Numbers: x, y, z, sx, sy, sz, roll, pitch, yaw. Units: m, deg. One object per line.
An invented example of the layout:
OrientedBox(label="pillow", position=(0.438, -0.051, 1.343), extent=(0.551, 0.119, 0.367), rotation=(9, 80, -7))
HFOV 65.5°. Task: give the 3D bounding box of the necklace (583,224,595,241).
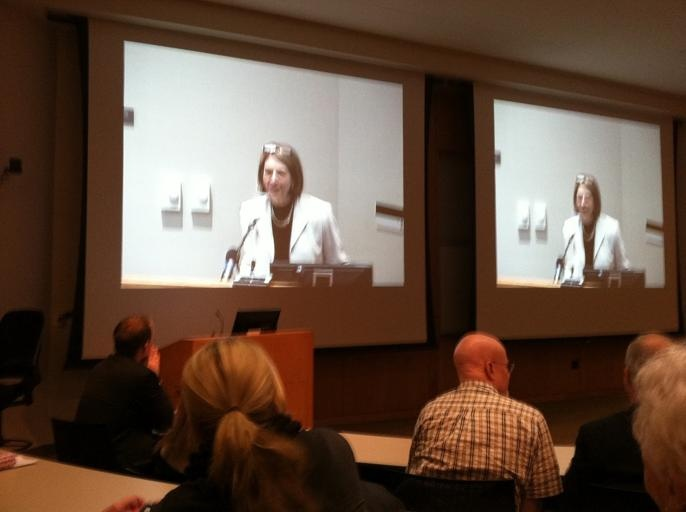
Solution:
OrientedBox(label="necklace", position=(2.732, -0.263, 5.899), extent=(0.122, 0.199, 0.041), rotation=(2, -2, -11))

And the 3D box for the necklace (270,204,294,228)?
OrientedBox(label="necklace", position=(-0.568, -0.370, 4.867), extent=(0.183, 0.215, 0.047), rotation=(-5, 2, -21))

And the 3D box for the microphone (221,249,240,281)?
OrientedBox(label="microphone", position=(-0.974, 0.070, 4.633), extent=(0.083, 0.346, 0.063), rotation=(16, -4, -17))

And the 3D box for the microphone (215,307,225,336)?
OrientedBox(label="microphone", position=(-1.054, 0.558, 4.556), extent=(0.074, 0.195, 0.059), rotation=(0, 3, -20))

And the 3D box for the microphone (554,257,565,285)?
OrientedBox(label="microphone", position=(2.355, 0.151, 5.782), extent=(0.151, 0.302, 0.036), rotation=(-1, 3, -28))

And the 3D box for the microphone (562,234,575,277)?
OrientedBox(label="microphone", position=(2.475, -0.036, 5.832), extent=(0.043, 0.590, 0.072), rotation=(22, -15, -34))

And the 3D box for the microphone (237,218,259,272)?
OrientedBox(label="microphone", position=(-0.846, -0.113, 4.716), extent=(0.048, 0.441, 0.204), rotation=(3, 3, 41))
